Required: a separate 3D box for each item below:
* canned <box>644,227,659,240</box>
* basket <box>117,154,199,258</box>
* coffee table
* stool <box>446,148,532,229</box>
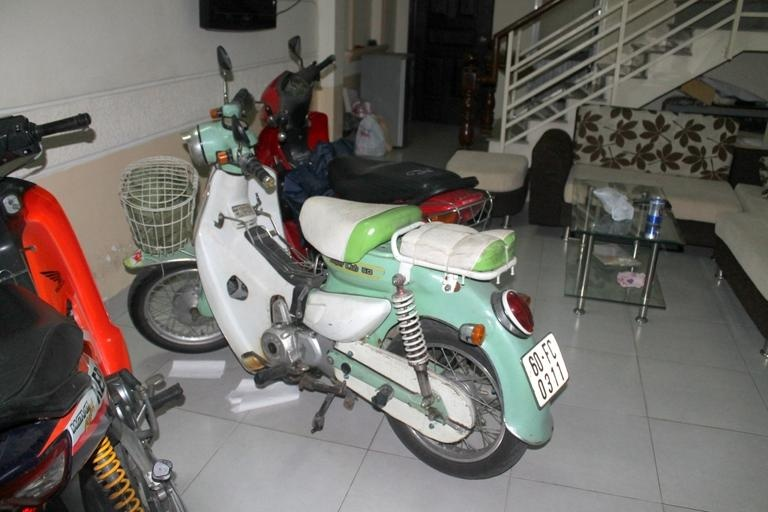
[{"bbox_3d":[1.774,-0.148,3.723,0.087,0.050,0.129,11,34,23],"label":"canned"},{"bbox_3d":[-1.327,-0.191,3.468,0.518,0.590,0.598,-1,44,-20],"label":"basket"},{"bbox_3d":[1.790,-0.008,4.141,0.486,0.468,0.910,3,32,8],"label":"coffee table"},{"bbox_3d":[0.981,-0.745,5.044,0.672,0.576,0.690,10,35,11],"label":"stool"}]
